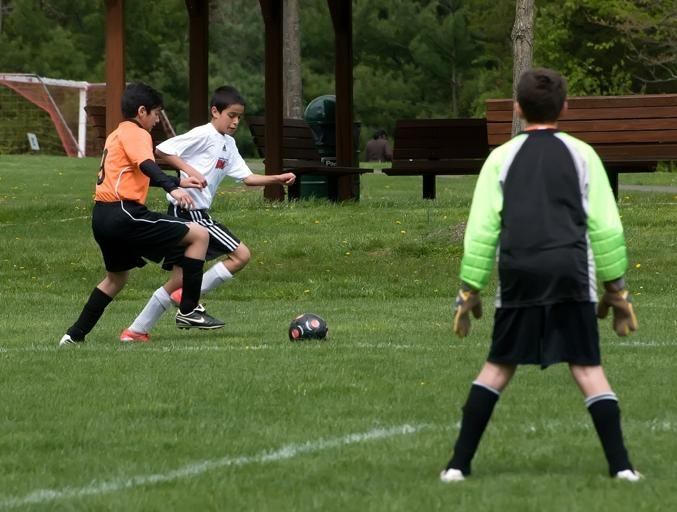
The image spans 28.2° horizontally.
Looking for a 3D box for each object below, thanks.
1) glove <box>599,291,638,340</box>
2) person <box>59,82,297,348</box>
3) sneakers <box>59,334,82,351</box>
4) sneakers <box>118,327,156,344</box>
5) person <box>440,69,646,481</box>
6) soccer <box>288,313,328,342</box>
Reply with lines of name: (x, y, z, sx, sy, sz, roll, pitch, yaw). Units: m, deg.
glove: (1.822, 0.337, 8.463, 0.229, 0.294, 0.092, 0, 25, 44)
person: (-1.437, -0.351, 11.060, 0.814, 2.107, 1.613, 7, 12, 39)
sneakers: (-2.164, 0.684, 10.837, 0.180, 0.077, 0.088, 7, -1, -7)
sneakers: (-1.684, 0.653, 11.015, 0.227, 0.091, 0.100, 0, 3, -9)
person: (1.275, 0.107, 8.305, 1.187, 2.458, 0.624, 0, 10, 4)
soccer: (-0.257, 0.556, 11.028, 0.243, 0.224, 0.243, 7, 6, 43)
